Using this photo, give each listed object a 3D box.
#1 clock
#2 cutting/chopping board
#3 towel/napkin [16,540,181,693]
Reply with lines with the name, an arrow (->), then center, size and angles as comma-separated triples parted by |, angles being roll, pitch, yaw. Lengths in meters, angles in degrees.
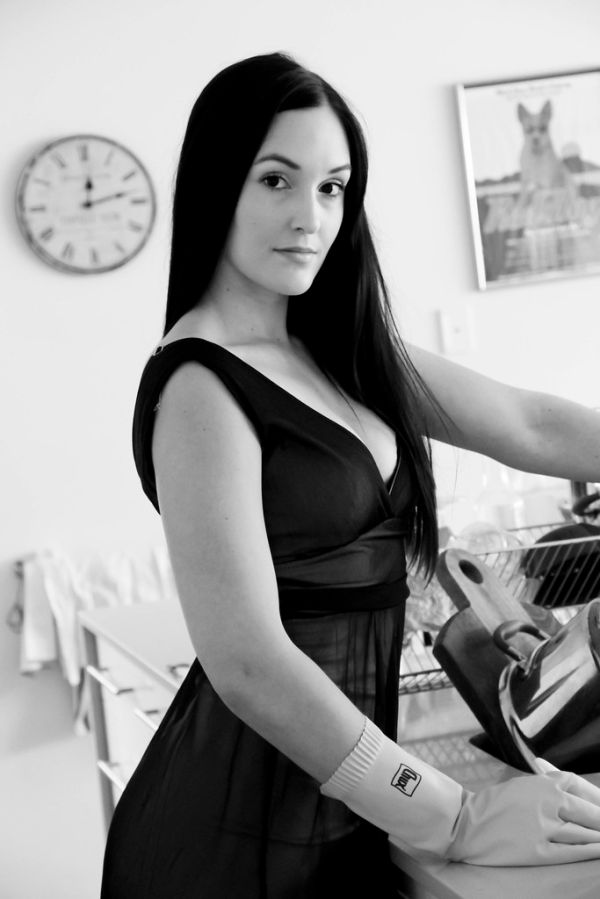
clock -> -0.533, -0.615, 2.033 | 0.332, 0.344, 0.038 | -4, 5, -17
cutting/chopping board -> 0.178, 0.202, 0.828 | 0.104, 0.020, 0.201 | 1, 47, -45
towel/napkin -> -0.600, 0.417, 2.136 | 0.138, 0.300, 0.399 | -12, -13, 0
